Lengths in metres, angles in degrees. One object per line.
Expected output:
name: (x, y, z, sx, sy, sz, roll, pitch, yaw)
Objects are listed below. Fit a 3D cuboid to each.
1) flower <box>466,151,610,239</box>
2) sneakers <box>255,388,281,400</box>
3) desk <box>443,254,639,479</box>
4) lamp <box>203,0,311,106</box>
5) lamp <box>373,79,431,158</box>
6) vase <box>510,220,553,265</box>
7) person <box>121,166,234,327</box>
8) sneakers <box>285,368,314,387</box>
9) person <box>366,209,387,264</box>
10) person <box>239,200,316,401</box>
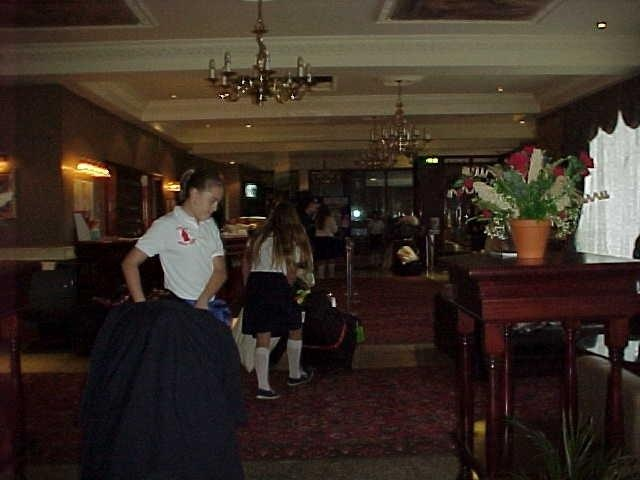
flower: (1.358, -0.290, 3.540, 0.820, 0.476, 0.568, 0, 6, 0)
sneakers: (-0.442, 1.273, 4.606, 0.180, 0.071, 0.083, 1, -4, -11)
desk: (1.296, 0.796, 3.312, 1.052, 1.420, 0.685, 0, 1, 11)
lamp: (-0.656, -2.067, 6.183, 1.072, 1.096, 2.102, 0, 1, -4)
lamp: (1.587, -2.247, 10.831, 1.240, 1.576, 1.189, 0, -4, -1)
vase: (1.257, 0.023, 3.343, 0.272, 0.267, 0.258, 1, -8, 0)
person: (-0.868, -0.024, 3.331, 0.590, 0.834, 0.284, 0, 1, -13)
sneakers: (-0.171, 1.236, 4.996, 0.093, 0.086, 0.229, 4, 7, 44)
person: (1.468, -0.063, 14.306, 0.459, 1.431, 1.185, 0, 1, 5)
person: (-0.362, 0.500, 4.791, 0.592, 1.640, 0.560, 0, 1, -3)
